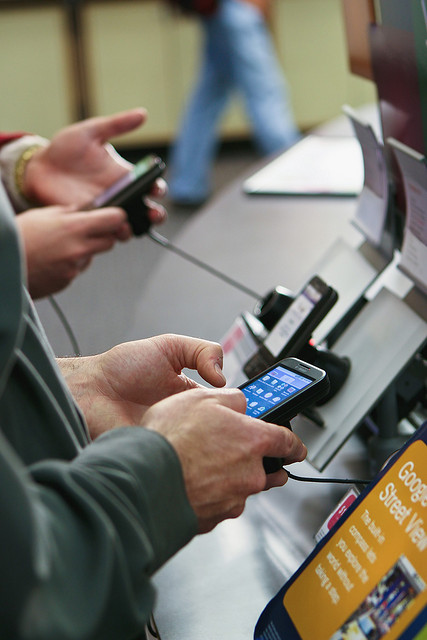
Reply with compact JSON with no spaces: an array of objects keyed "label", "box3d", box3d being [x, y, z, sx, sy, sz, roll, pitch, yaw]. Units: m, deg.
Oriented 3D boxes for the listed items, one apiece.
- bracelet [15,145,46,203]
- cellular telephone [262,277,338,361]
[{"label":"bracelet","box3d":[-0.310,-0.244,0.836,0.022,0.083,0.081,-3,15,12]},{"label":"cellular telephone","box3d":[0.114,0.003,0.671,0.013,0.128,0.074,30,15,-25]}]
